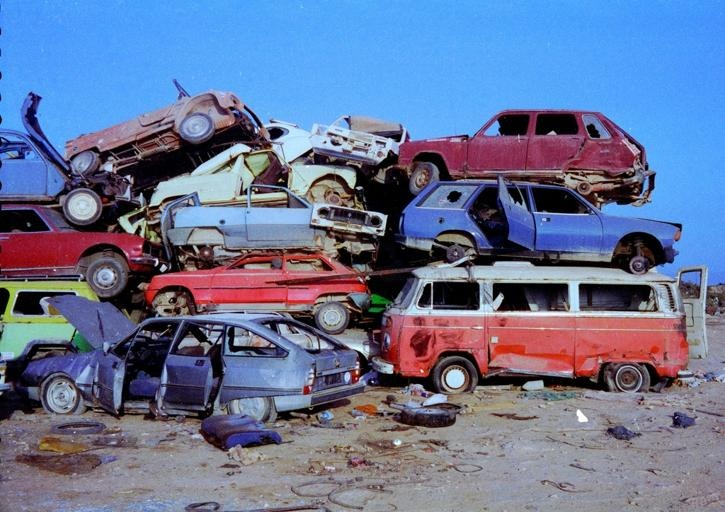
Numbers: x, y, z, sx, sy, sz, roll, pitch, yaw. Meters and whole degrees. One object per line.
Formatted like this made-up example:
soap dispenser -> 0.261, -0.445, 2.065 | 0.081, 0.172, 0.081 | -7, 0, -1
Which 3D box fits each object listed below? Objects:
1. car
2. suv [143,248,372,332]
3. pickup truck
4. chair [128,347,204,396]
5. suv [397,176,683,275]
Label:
car -> -2.712, 1.781, 11.447 | 4.520, 1.380, 2.459 | 1, -3, 9
suv -> -2.182, 0.734, 15.214 | 4.380, 1.156, 1.874 | 3, -4, 1
pickup truck -> -2.300, -0.852, 16.064 | 4.648, 1.026, 2.314 | -1, 5, -19
chair -> -3.043, 1.838, 11.344 | 1.479, 0.545, 0.770 | 0, -1, 1
suv -> 3.378, -0.568, 13.906 | 4.562, 1.205, 2.378 | 2, 2, 6
